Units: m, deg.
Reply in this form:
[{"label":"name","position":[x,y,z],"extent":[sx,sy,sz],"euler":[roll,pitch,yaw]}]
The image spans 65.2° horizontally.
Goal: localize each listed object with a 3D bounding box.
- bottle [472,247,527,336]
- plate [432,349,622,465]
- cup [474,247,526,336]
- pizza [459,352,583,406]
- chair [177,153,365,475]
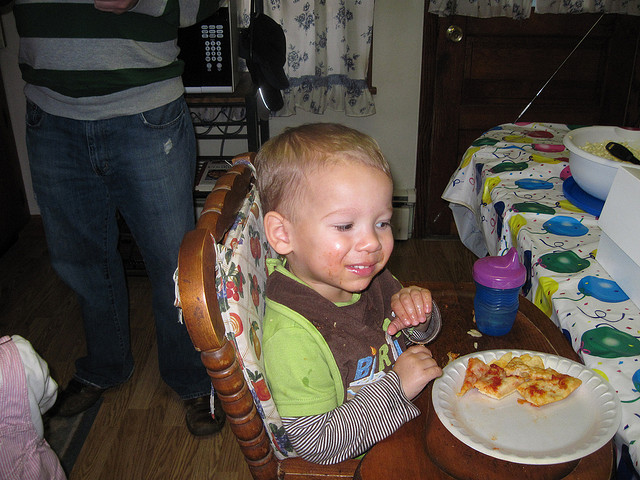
[{"label":"bottle","position":[0.396,0.097,1.112],"extent":[0.109,0.201,0.110],"euler":[-2,32,1]},{"label":"plate","position":[0.377,0.297,0.946],"extent":[0.327,0.035,0.361],"euler":[-3,18,29]},{"label":"cup","position":[0.396,0.105,1.114],"extent":[0.104,0.201,0.109],"euler":[-3,25,2]},{"label":"pizza","position":[0.383,0.267,0.958],"extent":[0.125,0.021,0.113],"euler":[0,29,14]},{"label":"chair","position":[-0.094,0.157,1.061],"extent":[0.277,0.520,0.414],"euler":[-2,24,1]}]
